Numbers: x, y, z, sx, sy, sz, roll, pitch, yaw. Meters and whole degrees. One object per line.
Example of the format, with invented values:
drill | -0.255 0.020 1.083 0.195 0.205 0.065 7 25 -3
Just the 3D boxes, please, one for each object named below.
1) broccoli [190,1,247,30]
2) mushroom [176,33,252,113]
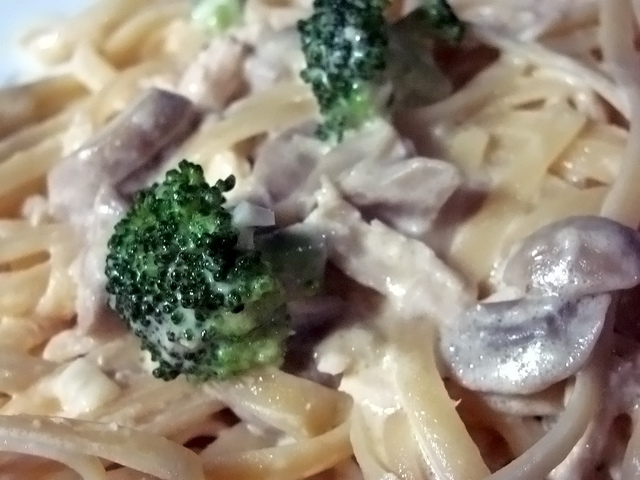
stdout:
broccoli | -0.280 -0.608 2.190 0.162 0.034 0.093 13 73 14
mushroom | -0.258 -0.435 2.160 0.142 0.056 0.211 39 81 20
